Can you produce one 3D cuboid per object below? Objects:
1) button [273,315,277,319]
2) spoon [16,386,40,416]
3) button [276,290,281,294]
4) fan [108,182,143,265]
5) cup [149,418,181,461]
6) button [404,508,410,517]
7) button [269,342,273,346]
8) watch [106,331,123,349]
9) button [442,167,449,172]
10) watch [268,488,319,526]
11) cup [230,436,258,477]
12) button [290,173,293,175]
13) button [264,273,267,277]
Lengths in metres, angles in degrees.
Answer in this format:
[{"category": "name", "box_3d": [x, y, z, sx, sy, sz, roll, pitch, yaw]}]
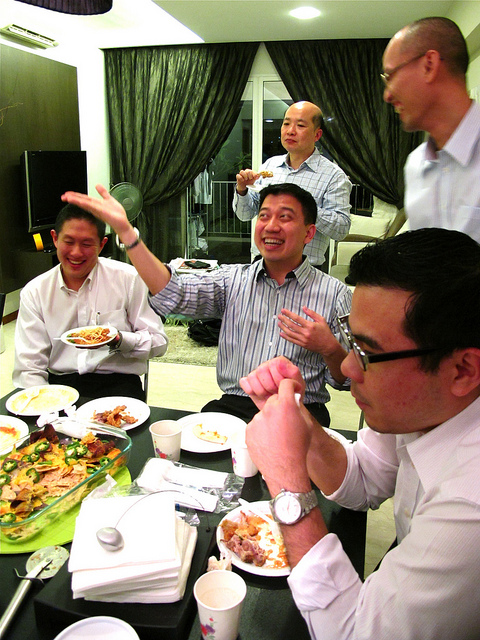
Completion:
[{"category": "button", "box_3d": [0.143, -0.013, 1.901, 0.014, 0.013, 0.003, -6, -17, 4]}, {"category": "spoon", "box_3d": [-0.720, 0.272, 1.593, 0.025, 0.016, 0.116, -8, 19, -4]}, {"category": "button", "box_3d": [0.158, -0.115, 1.924, 0.019, 0.018, 0.005, -3, 0, 7]}, {"category": "fan", "box_3d": [-1.111, -0.916, 4.683, 0.357, 1.016, 0.140, -5, -21, -4]}, {"category": "cup", "box_3d": [-0.185, 0.319, 1.289, 0.104, 0.102, 0.103, -2, 18, 1]}, {"category": "button", "box_3d": [0.347, 0.400, 0.972, 0.010, 0.013, 0.013, -9, 4, 0]}, {"category": "button", "box_3d": [0.127, 0.099, 1.907, 0.013, 0.013, 0.002, 1, 12, 3]}, {"category": "watch", "box_3d": [-0.537, 0.090, 2.021, 0.074, 0.070, 0.052, 8, -14, -8]}, {"category": "button", "box_3d": [0.752, -0.550, 1.710, 0.029, 0.026, 0.006, 4, 3, 28]}, {"category": "watch", "box_3d": [0.089, 0.308, 0.816, 0.082, 0.049, 0.071, -22, -6, -8]}, {"category": "cup", "box_3d": [0.006, 0.358, 1.239, 0.095, 0.099, 0.103, -4, 15, 1]}, {"category": "button", "box_3d": [0.393, -1.109, 3.550, 0.011, 0.012, 0.011, -17, 47, -13]}, {"category": "button", "box_3d": [0.106, -0.186, 1.921, 0.008, 0.013, 0.007, -6, 25, -8]}]
